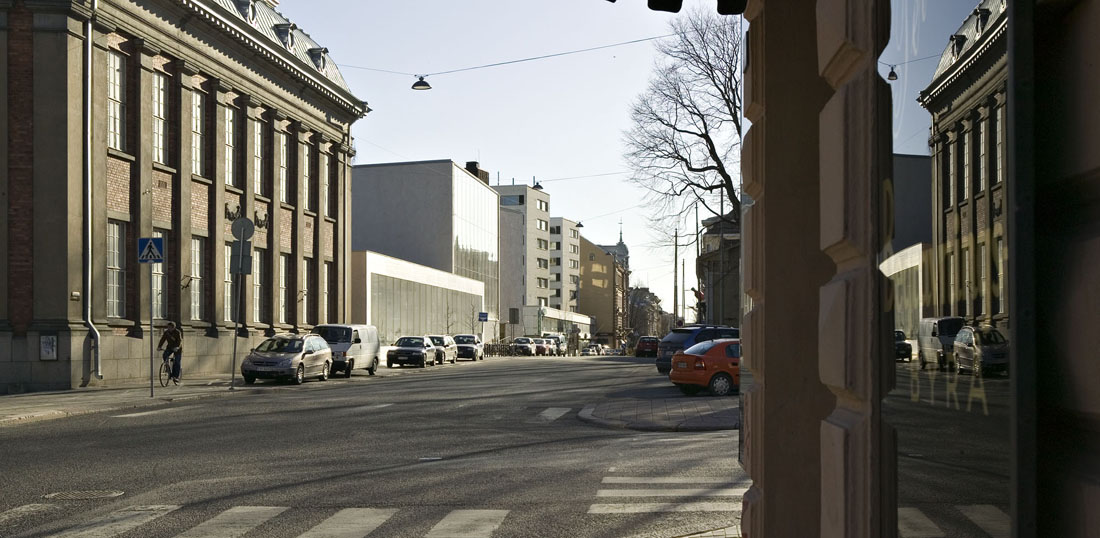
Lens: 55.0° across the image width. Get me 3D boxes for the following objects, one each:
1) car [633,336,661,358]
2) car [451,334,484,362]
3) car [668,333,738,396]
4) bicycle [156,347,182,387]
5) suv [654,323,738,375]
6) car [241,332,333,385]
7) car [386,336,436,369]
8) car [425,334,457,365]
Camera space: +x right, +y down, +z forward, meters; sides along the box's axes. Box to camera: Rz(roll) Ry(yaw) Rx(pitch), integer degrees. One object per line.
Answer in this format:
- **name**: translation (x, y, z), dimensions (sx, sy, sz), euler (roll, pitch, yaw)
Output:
- **car**: translation (6.839, 5.459, 73.861), dimensions (1.228, 1.055, 2.121), euler (0, 2, 5)
- **car**: translation (-5.299, 5.041, 67.199), dimensions (1.387, 1.014, 3.059), euler (0, -9, 4)
- **car**: translation (4.540, 2.906, 31.383), dimensions (2.261, 1.070, 1.259), euler (-4, 1, -22)
- **bicycle**: translation (-13.040, 3.414, 36.149), dimensions (0.719, 0.889, 1.476), euler (0, -11, 3)
- **suv**: translation (5.774, 3.080, 41.022), dimensions (3.052, 1.304, 1.677), euler (-3, -1, -21)
- **car**: translation (-9.494, 3.239, 38.367), dimensions (1.795, 1.389, 3.159), euler (2, -3, 17)
- **car**: translation (-7.252, 4.258, 54.749), dimensions (2.201, 1.096, 2.067), euler (3, -3, -1)
- **car**: translation (-6.065, 4.435, 59.516), dimensions (1.092, 0.737, 2.043), euler (-2, -11, 9)
